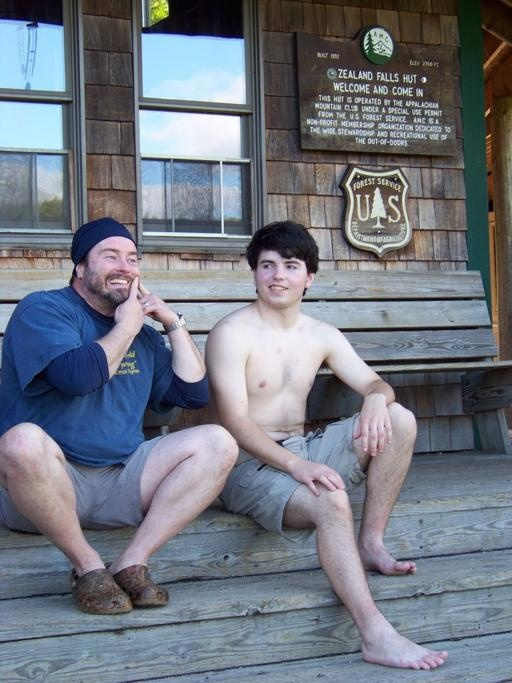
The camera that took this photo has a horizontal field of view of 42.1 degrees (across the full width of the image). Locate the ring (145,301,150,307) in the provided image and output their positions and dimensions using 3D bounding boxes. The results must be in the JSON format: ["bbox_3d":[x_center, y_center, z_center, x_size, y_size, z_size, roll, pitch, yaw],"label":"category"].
[{"bbox_3d":[-0.336,-0.118,2.079,0.021,0.018,0.006,10,-37,-33],"label":"ring"}]

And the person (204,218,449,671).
[{"bbox_3d":[0.178,0.180,2.051,0.650,1.073,0.942,-3,1,-4],"label":"person"}]

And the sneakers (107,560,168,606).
[{"bbox_3d":[-0.305,0.624,1.717,0.070,0.067,0.171,1,4,-38],"label":"sneakers"}]

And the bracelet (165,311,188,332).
[{"bbox_3d":[-0.269,-0.068,2.169,0.062,0.036,0.063,-31,-7,20],"label":"bracelet"}]

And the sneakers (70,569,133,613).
[{"bbox_3d":[-0.371,0.613,1.631,0.127,0.099,0.076,-2,1,-9],"label":"sneakers"}]
